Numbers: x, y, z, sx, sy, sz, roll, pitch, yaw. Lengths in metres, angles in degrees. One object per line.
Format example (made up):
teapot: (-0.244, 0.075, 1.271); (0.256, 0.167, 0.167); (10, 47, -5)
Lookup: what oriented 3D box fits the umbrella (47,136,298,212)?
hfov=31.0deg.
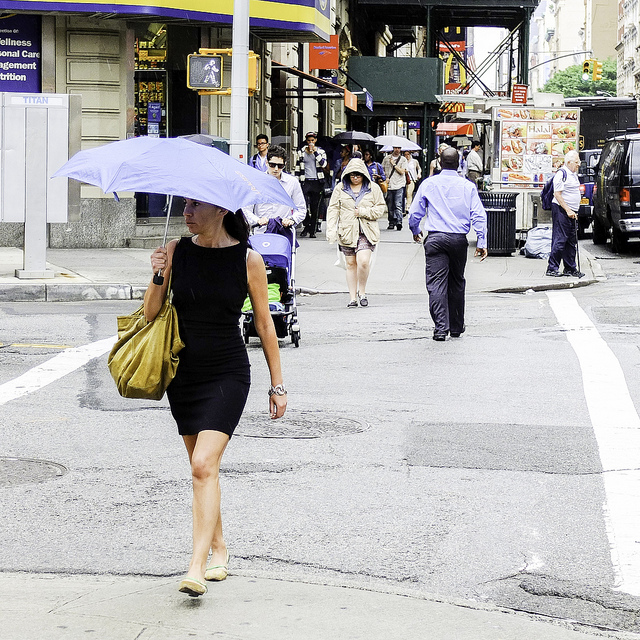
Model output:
umbrella: (-0.643, -0.609, 4.796); (0.905, 0.315, 0.867); (0, 7, 1)

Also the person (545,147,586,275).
person: (3.728, -1.592, 17.565); (0.558, 1.909, 1.076); (2, 7, 12)

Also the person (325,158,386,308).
person: (0.428, -1.009, 13.955); (0.690, 1.829, 0.930); (0, 7, 1)

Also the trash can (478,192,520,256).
trash can: (3.330, -1.833, 21.447); (0.919, 1.386, 0.846); (7, 16, 7)

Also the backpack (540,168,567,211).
backpack: (3.594, -1.956, 17.721); (0.368, 0.627, 0.414); (8, 5, 42)

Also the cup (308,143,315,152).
cup: (-0.205, -3.628, 24.406); (0.120, 0.186, 0.166); (0, 7, -1)

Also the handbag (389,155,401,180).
handbag: (1.820, -3.733, 28.033); (0.133, 0.052, 0.912); (8, 45, 28)

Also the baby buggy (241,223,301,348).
baby buggy: (-0.396, -0.366, 11.012); (0.580, 1.087, 0.872); (5, 14, -1)

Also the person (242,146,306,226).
person: (-0.491, -1.165, 12.014); (0.667, 1.270, 0.658); (1, 17, -3)
